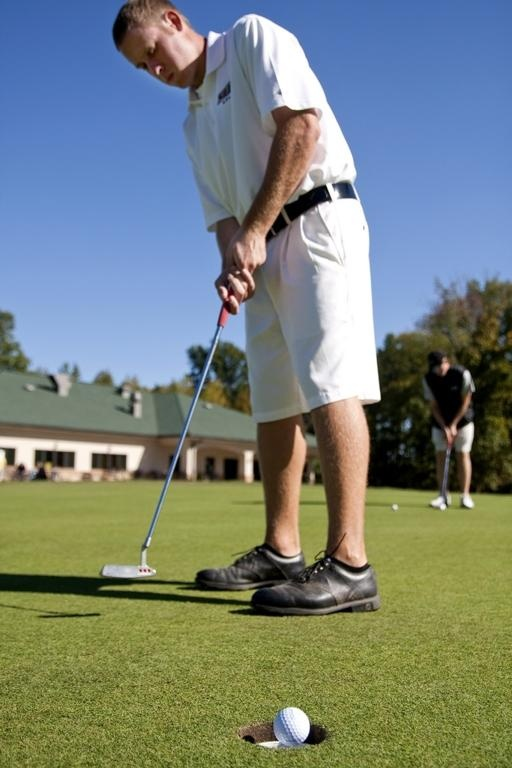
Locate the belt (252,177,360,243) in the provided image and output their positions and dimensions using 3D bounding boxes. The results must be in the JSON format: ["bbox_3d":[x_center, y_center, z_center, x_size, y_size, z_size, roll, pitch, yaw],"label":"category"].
[{"bbox_3d":[0.195,-0.637,2.694,0.218,0.057,0.220,-21,-23,-6],"label":"belt"}]

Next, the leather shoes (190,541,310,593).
[{"bbox_3d":[-0.022,0.694,2.886,0.438,0.186,0.162,3,-17,-24],"label":"leather shoes"}]

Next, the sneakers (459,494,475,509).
[{"bbox_3d":[2.263,1.268,8.126,0.116,0.129,0.298,-5,-13,0],"label":"sneakers"}]

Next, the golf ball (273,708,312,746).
[{"bbox_3d":[0.057,0.539,1.213,0.052,0.059,0.052,3,-6,0],"label":"golf ball"}]

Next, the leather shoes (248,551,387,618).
[{"bbox_3d":[0.185,0.626,2.343,0.396,0.184,0.160,4,-16,-15],"label":"leather shoes"}]

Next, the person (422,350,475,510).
[{"bbox_3d":[2.150,0.504,8.493,0.588,1.757,1.177,2,-4,15],"label":"person"}]

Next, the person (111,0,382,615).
[{"bbox_3d":[0.052,-0.359,2.790,1.075,2.246,0.724,0,-5,41],"label":"person"}]
